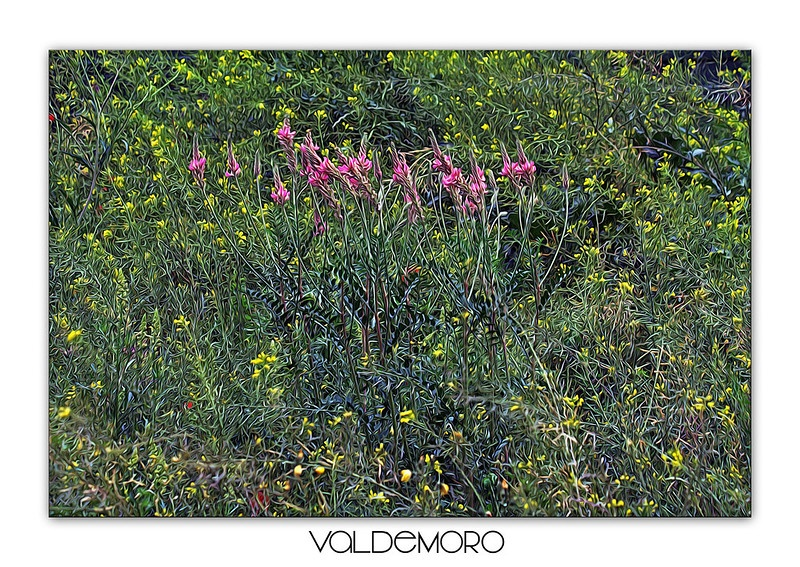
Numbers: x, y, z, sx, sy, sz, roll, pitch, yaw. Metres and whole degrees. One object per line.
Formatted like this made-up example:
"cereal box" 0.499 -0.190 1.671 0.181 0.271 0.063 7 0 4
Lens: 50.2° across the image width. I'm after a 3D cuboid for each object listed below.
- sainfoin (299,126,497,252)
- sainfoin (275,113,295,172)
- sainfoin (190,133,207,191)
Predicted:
"sainfoin" -0.025 -0.405 3.393 0.759 0.378 0.104 2 9 -1
"sainfoin" -0.449 -0.548 3.404 0.076 0.213 0.087 -1 10 -11
"sainfoin" -0.804 -0.481 3.404 0.063 0.197 0.054 7 11 33
